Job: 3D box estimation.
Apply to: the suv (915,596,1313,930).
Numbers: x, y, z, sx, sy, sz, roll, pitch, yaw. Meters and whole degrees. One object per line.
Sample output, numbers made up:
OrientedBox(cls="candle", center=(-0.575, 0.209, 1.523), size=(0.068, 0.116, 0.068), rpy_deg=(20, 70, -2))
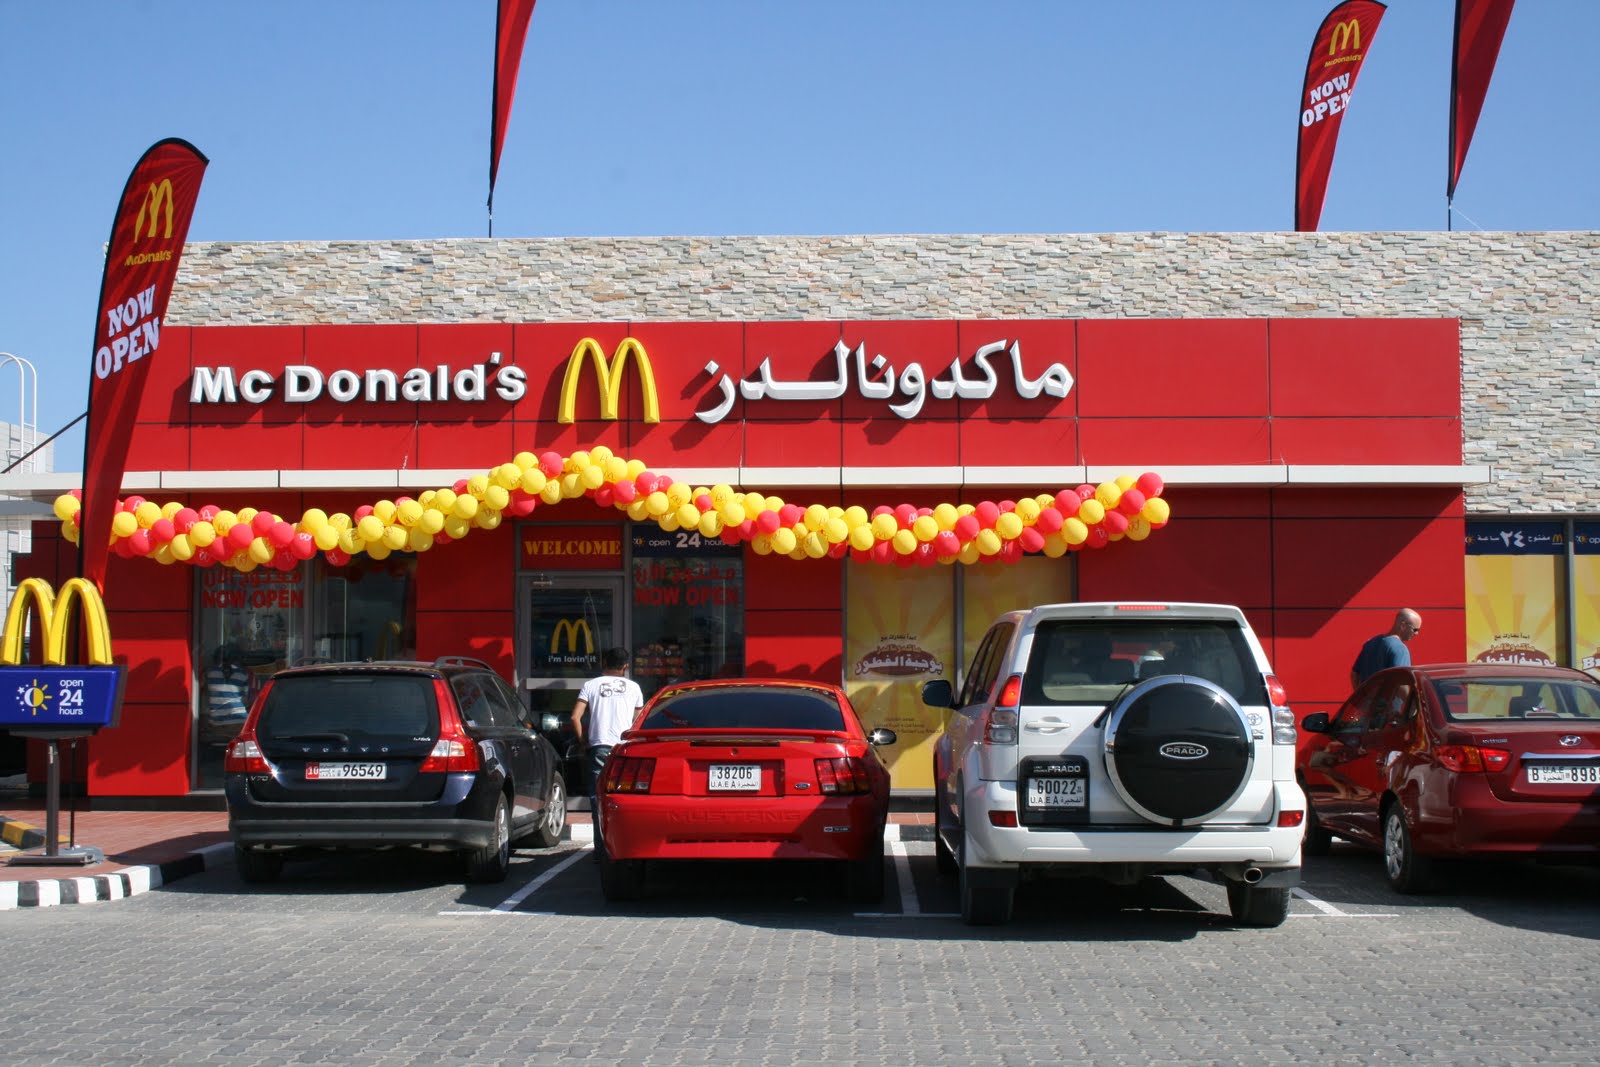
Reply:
OrientedBox(cls="suv", center=(2.671, 1.754, 14.748), size=(2.210, 1.586, 3.449), rpy_deg=(0, -1, 2))

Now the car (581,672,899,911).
OrientedBox(cls="car", center=(-0.442, 2.334, 18.047), size=(2.856, 1.792, 4.712), rpy_deg=(-1, -1, 4))
